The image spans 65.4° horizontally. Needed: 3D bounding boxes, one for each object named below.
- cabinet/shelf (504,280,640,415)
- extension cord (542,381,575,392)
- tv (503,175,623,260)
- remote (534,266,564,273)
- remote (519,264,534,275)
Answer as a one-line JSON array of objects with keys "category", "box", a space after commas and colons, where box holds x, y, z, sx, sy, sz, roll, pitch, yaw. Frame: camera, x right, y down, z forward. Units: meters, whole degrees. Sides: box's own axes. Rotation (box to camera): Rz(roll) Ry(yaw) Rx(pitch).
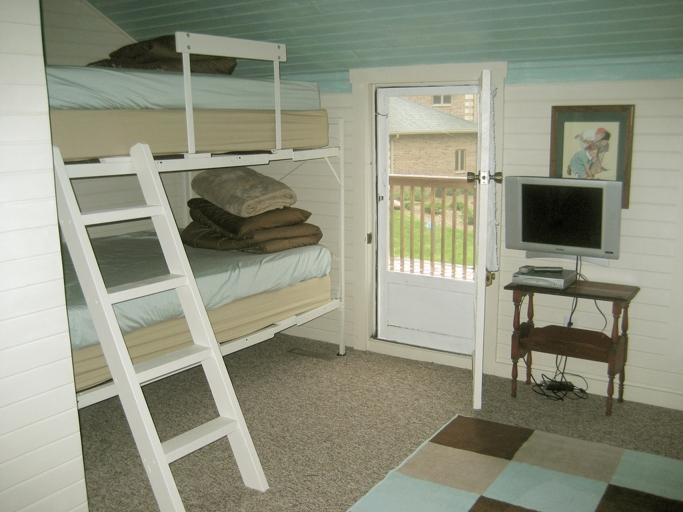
[{"category": "cabinet/shelf", "box": [1.649, 0.655, 3.765, 0.988, 0.767, 0.482, 9, 22, 28]}, {"category": "extension cord", "box": [1.562, 0.943, 3.886, 0.188, 0.049, 0.094, 2, 1, 23]}, {"category": "tv", "box": [1.536, -0.287, 3.672, 0.777, 0.444, 0.072, 5, 15, 28]}, {"category": "remote", "box": [1.498, 0.094, 3.778, 0.279, 0.055, 0.063, 0, -2, 7]}, {"category": "remote", "box": [1.309, 0.096, 3.819, 0.082, 0.021, 0.082, 5, 16, 42]}]
